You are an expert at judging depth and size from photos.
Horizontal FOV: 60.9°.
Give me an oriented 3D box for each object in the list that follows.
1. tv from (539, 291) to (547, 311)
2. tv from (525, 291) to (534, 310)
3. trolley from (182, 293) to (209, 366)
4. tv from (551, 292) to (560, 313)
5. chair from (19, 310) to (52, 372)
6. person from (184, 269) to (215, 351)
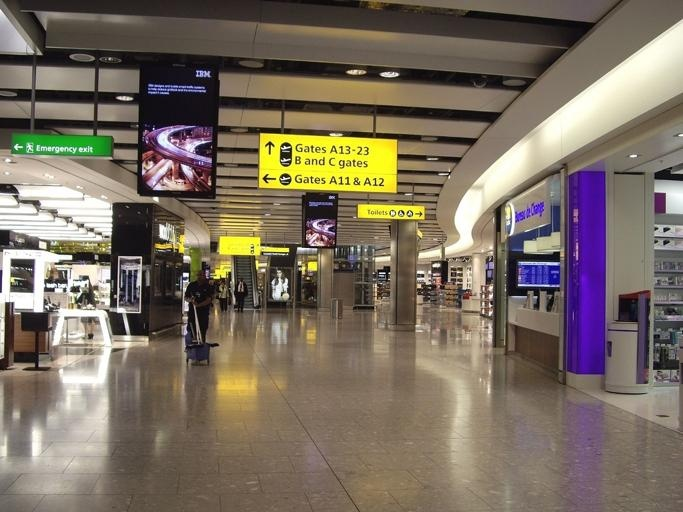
[{"bbox_3d":[3.908,0.849,11.217,0.138,0.397,0.376,1,0,20],"label":"tv"},{"bbox_3d":[3.930,0.887,12.056,0.168,0.367,0.476,1,0,15],"label":"tv"},{"bbox_3d":[-2.757,1.427,11.145,0.432,1.263,0.388,0,-1,-3],"label":"trolley"},{"bbox_3d":[3.866,0.841,10.503,0.127,0.378,0.346,3,-6,7],"label":"tv"},{"bbox_3d":[-5.490,1.515,10.529,0.602,1.059,0.669,1,-1,-3],"label":"chair"},{"bbox_3d":[-2.880,1.087,11.741,0.524,1.613,0.553,7,19,-4],"label":"person"}]
